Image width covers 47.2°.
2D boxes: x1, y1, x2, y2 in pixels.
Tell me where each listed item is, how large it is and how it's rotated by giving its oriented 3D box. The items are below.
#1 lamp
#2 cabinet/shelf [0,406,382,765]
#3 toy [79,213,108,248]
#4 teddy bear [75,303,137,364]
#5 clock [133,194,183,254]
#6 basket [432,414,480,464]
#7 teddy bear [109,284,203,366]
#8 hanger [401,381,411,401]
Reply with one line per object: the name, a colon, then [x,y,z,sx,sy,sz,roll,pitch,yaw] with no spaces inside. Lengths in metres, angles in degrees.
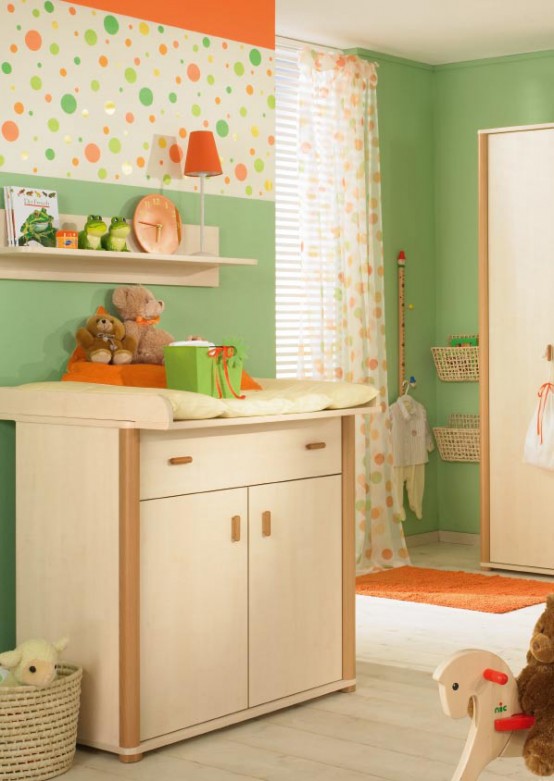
lamp: [-0.268,-0.735,2.315,0.131,0.517,0.282,0,-9,-6]
cabinet/shelf: [-0.248,0.469,1.807,0.631,0.894,0.899,-7,-10,33]
toy: [-0.549,-0.472,1.890,0.071,0.113,0.060,2,-9,-21]
teddy bear: [-0.524,-0.161,1.951,0.178,0.173,0.120,0,2,-36]
clock: [-0.414,-0.581,2.236,0.045,0.228,0.216,-8,-11,40]
basket: [1.225,0.345,4.284,0.244,0.248,0.367,0,2,13]
teddy bear: [-0.426,-0.216,2.107,0.219,0.284,0.210,13,16,28]
hanger: [0.871,0.001,4.304,0.033,0.138,0.133,-6,-10,33]
